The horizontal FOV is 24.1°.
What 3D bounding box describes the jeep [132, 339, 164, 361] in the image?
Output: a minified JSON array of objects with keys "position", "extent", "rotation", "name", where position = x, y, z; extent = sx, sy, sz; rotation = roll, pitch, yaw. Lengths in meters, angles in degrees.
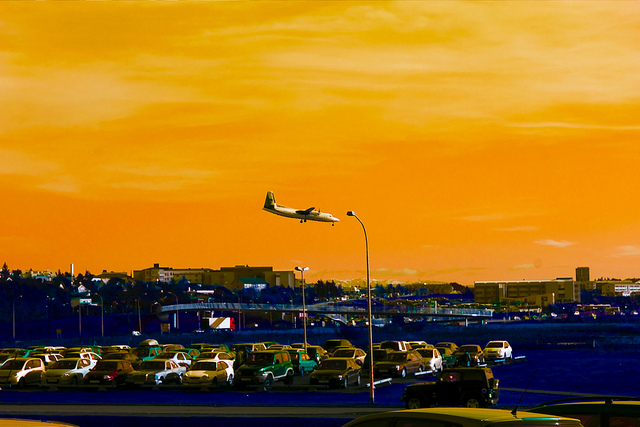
[{"position":[-28.529,22.347,249.201],"extent":[3.939,2.796,5.677],"rotation":[-1,-13,4],"name":"jeep"}]
